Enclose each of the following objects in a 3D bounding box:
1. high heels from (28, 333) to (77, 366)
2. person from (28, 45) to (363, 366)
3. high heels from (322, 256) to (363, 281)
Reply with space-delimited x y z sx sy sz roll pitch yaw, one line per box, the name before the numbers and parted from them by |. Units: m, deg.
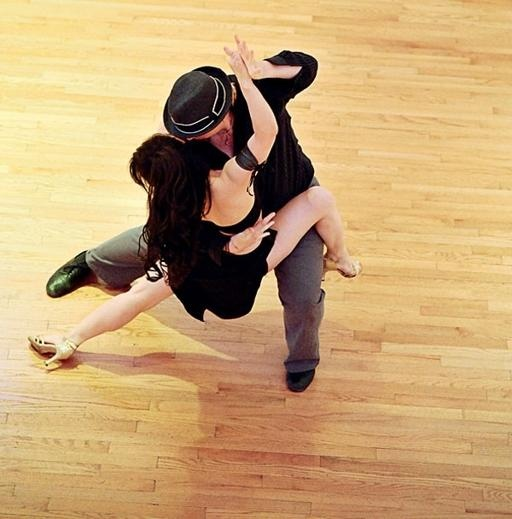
high heels | -0.914 0.381 3.020 0.290 0.092 0.101 5 34 24
person | -0.144 -0.107 2.725 0.814 1.092 1.355 22 33 33
high heels | 0.377 0.032 3.096 0.238 0.061 0.070 -4 68 -10
